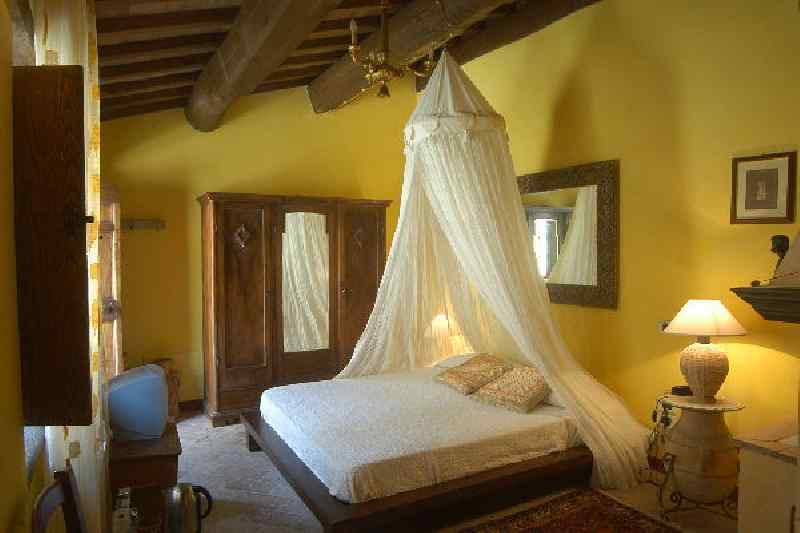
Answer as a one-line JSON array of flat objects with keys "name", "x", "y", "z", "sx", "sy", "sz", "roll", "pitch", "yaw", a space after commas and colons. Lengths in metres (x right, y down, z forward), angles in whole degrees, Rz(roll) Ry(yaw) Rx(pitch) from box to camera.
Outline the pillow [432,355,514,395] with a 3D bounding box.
[{"name": "pillow", "x": 0.653, "y": 0.950, "z": 5.444, "sx": 0.577, "sy": 0.138, "sz": 0.488, "roll": -20, "pitch": 18, "yaw": -30}]

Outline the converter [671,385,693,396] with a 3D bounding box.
[{"name": "converter", "x": 2.090, "y": 0.919, "z": 4.522, "sx": 0.108, "sy": 0.035, "sz": 0.108, "roll": 0, "pitch": 0, "yaw": 37}]

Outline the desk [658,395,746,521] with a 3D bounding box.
[{"name": "desk", "x": 2.220, "y": 1.379, "z": 4.481, "sx": 0.642, "sy": 0.863, "sz": 0.676, "roll": -4, "pitch": 5, "yaw": -41}]

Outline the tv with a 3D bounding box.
[{"name": "tv", "x": -1.870, "y": 0.953, "z": 4.333, "sx": 0.452, "sy": 0.451, "sz": 0.455, "roll": 5, "pitch": -2, "yaw": -31}]

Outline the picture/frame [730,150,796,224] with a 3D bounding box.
[{"name": "picture/frame", "x": 2.591, "y": -0.554, "z": 4.322, "sx": 0.056, "sy": 0.674, "sz": 0.554, "roll": 1, "pitch": 0, "yaw": -35}]

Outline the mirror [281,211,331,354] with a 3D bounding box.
[{"name": "mirror", "x": -1.006, "y": 0.192, "z": 6.441, "sx": 0.652, "sy": 1.951, "sz": 0.159, "roll": -2, "pitch": -31, "yaw": -6}]

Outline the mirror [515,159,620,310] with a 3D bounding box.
[{"name": "mirror", "x": 1.510, "y": -0.236, "z": 5.388, "sx": 0.103, "sy": 1.385, "sz": 1.380, "roll": -1, "pitch": 1, "yaw": -35}]

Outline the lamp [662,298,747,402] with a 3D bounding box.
[{"name": "lamp", "x": 2.318, "y": 0.597, "z": 4.715, "sx": 0.631, "sy": 0.896, "sz": 0.727, "roll": 3, "pitch": -3, "yaw": -2}]

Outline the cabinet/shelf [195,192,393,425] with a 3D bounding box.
[{"name": "cabinet/shelf", "x": -1.143, "y": 0.458, "z": 6.028, "sx": 2.262, "sy": 2.582, "sz": 0.911, "roll": -1, "pitch": 2, "yaw": -32}]
